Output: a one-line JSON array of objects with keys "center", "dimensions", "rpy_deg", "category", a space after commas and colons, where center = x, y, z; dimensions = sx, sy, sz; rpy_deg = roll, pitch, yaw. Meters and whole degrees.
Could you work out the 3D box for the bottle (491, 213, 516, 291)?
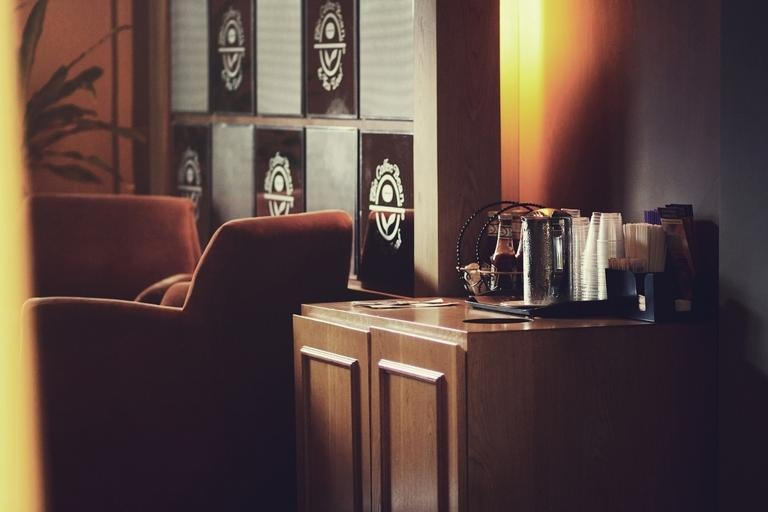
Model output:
[{"center": [0.414, -0.009, 2.753], "dimensions": [0.086, 0.259, 0.165], "rpy_deg": [0, 0, 7], "category": "bottle"}]
